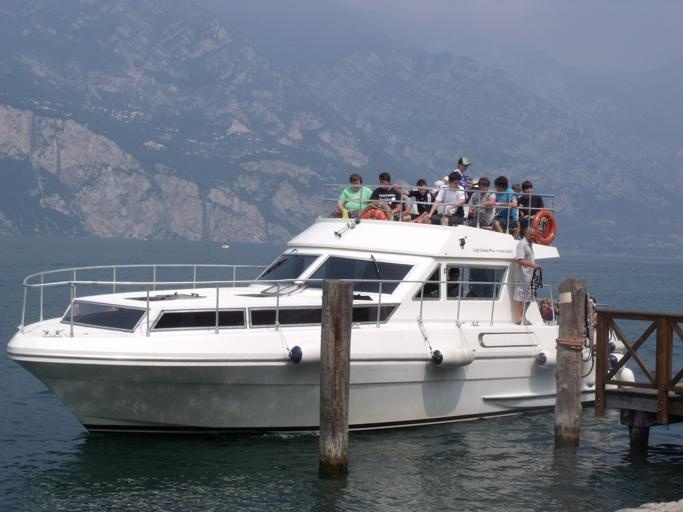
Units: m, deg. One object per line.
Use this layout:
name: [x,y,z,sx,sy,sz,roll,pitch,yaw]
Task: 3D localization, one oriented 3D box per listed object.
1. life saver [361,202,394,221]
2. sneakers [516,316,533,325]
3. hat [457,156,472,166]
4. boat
life saver: [0.944,-1.133,31.584,0.503,0.277,0.645,4,-1,20]
sneakers: [4.628,1.658,31.283,0.503,0.180,0.154,0,9,-24]
hat: [3.252,-2.537,32.516,0.303,0.226,0.418,3,-3,9]
boat: [-0.862,1.935,30.899,13.638,4.515,6.407,0,0,-23]
